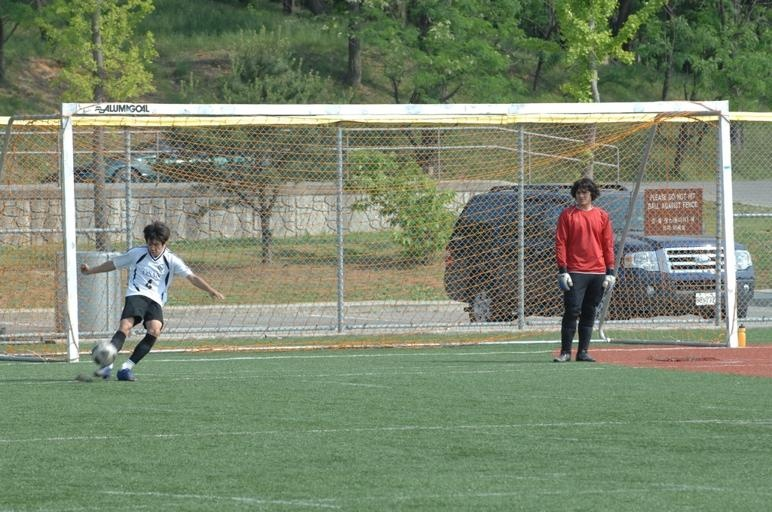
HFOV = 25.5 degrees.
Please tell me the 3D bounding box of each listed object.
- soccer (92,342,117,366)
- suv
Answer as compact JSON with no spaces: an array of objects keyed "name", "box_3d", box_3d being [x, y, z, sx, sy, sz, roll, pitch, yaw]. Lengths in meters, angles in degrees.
[{"name":"soccer","box_3d":[-6.720,2.370,41.509,0.554,0.592,0.633,5,22,-10]},{"name":"suv","box_3d":[5.223,-0.067,46.256,7.189,2.899,4.132,-3,-1,37]}]
